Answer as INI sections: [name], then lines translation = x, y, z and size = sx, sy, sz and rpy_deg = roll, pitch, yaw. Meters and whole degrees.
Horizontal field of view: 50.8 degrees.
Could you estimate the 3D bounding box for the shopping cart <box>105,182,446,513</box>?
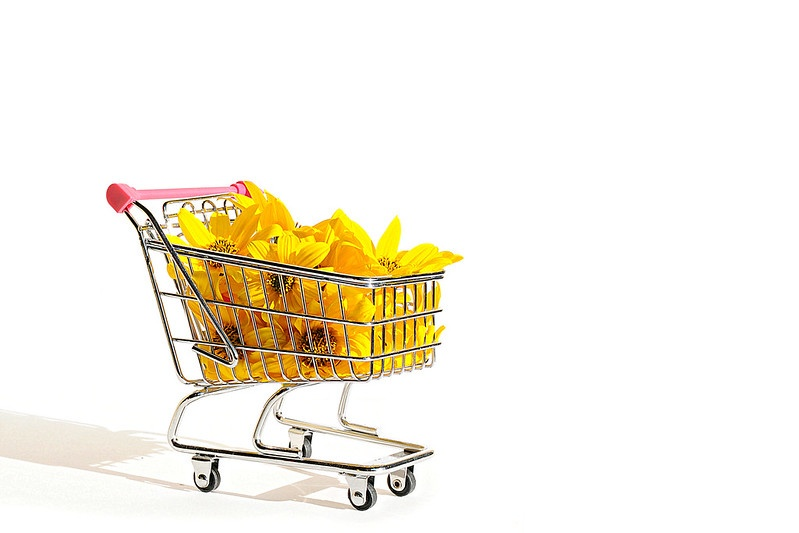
[shopping cart]
translation = -0.456, 0.311, 3.721
size = 1.491, 1.302, 1.026
rpy_deg = 2, 4, 21
